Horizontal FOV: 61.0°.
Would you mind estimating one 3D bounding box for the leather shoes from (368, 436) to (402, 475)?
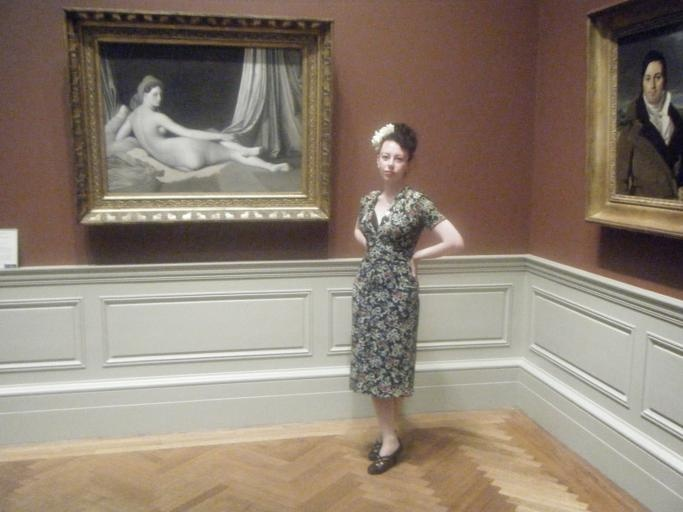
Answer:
[{"bbox_3d":[0.301,1.330,3.837,0.105,0.165,0.322,-6,-5,28],"label":"leather shoes"}]

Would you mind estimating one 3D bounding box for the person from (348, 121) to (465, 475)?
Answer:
[{"bbox_3d":[0.374,0.036,3.684,0.652,1.713,0.292,0,8,7],"label":"person"}]

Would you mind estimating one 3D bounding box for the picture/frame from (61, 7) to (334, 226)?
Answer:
[{"bbox_3d":[-1.025,-0.974,3.855,1.320,1.136,0.101,-1,7,-11],"label":"picture/frame"}]
